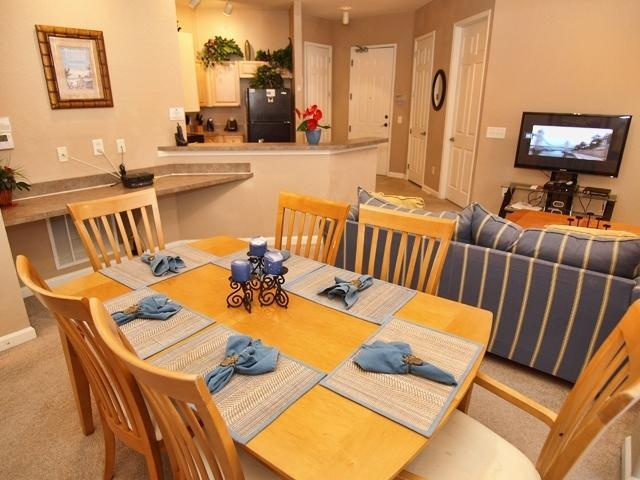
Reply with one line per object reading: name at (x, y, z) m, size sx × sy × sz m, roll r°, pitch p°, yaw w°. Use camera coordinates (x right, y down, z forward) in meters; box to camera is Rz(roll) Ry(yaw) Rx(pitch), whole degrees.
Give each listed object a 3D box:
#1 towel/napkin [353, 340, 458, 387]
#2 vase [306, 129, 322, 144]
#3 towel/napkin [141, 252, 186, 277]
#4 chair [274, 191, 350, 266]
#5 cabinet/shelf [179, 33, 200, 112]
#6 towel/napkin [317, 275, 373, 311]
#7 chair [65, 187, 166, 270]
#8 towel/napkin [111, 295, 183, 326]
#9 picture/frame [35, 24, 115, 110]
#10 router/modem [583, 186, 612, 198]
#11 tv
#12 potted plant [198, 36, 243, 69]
towel/napkin at (0.322, 0.482, 1.662) m, size 0.280 × 0.039 × 0.169 m, roll 14°, pitch 30°, yaw 29°
vase at (-0.076, -1.147, 4.709) m, size 0.170 × 0.167 × 0.168 m, roll -5°, pitch 24°, yaw -1°
towel/napkin at (-0.872, 0.118, 2.317) m, size 0.184 × 0.063 × 0.136 m, roll 17°, pitch 31°, yaw 34°
chair at (-0.067, -0.085, 3.039) m, size 0.401 × 0.713 × 0.472 m, roll 20°, pitch 33°, yaw 29°
cabinet/shelf at (-1.871, -2.382, 6.040) m, size 0.139 × 1.034 × 0.365 m, roll 8°, pitch 21°, yaw 22°
towel/napkin at (0.153, 0.244, 2.106) m, size 0.142 × 0.066 × 0.204 m, roll 12°, pitch 17°, yaw 37°
chair at (-1.536, -0.089, 3.092) m, size 0.428 × 0.622 × 0.360 m, roll 37°, pitch 48°, yaw 28°
towel/napkin at (-0.784, 0.324, 1.927) m, size 0.191 × 0.042 × 0.140 m, roll -21°, pitch 42°, yaw -39°
picture/frame at (-2.135, -1.496, 3.629) m, size 0.049 × 0.763 × 0.690 m, roll 15°, pitch 23°, yaw 34°
router/modem at (3.091, -0.546, 4.729) m, size 0.262 × 0.071 × 0.262 m, roll 14°, pitch 24°, yaw 34°
tv at (2.896, -1.011, 4.750) m, size 0.904 × 0.601 × 0.075 m, roll 15°, pitch 27°, yaw 34°
potted plant at (-1.585, -2.998, 6.729) m, size 0.519 × 0.281 × 0.565 m, roll 28°, pitch 39°, yaw 27°
